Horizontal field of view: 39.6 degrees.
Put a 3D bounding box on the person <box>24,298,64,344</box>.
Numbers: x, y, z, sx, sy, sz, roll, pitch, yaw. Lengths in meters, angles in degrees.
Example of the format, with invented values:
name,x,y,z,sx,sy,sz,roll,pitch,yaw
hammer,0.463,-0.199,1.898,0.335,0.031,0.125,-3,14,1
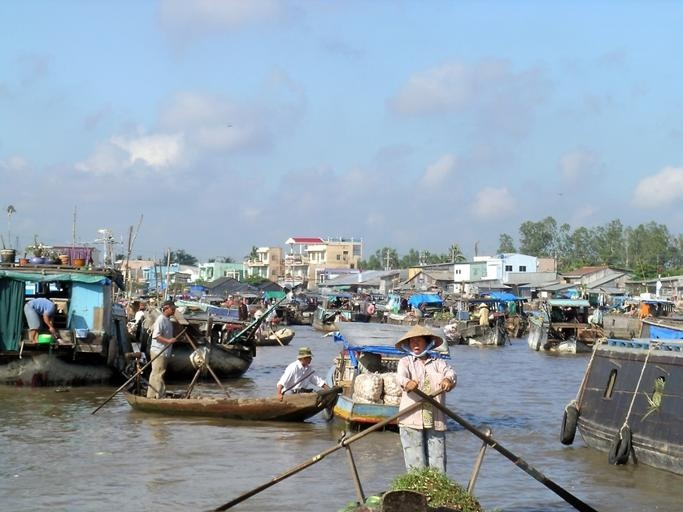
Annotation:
name,x,y,z,sx,sy,sz,roll,pitch,yaw
person,-7.499,1.517,23.487,1.127,1.333,0.906,-2,1,-11

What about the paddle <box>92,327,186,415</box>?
name,x,y,z,sx,sy,sz,roll,pitch,yaw
paddle,-5.043,2.871,23.461,0.195,2.844,0.061,49,-2,-29

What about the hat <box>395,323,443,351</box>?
name,x,y,z,sx,sy,sz,roll,pitch,yaw
hat,1.236,1.162,14.379,0.488,0.217,0.483,-3,-18,-1

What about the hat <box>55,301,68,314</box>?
name,x,y,z,sx,sy,sz,roll,pitch,yaw
hat,-7.375,1.325,24.902,0.345,0.235,0.282,3,-13,-16

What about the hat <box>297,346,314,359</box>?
name,x,y,z,sx,sy,sz,roll,pitch,yaw
hat,-0.736,1.921,19.623,0.375,0.196,0.379,1,-8,-3
